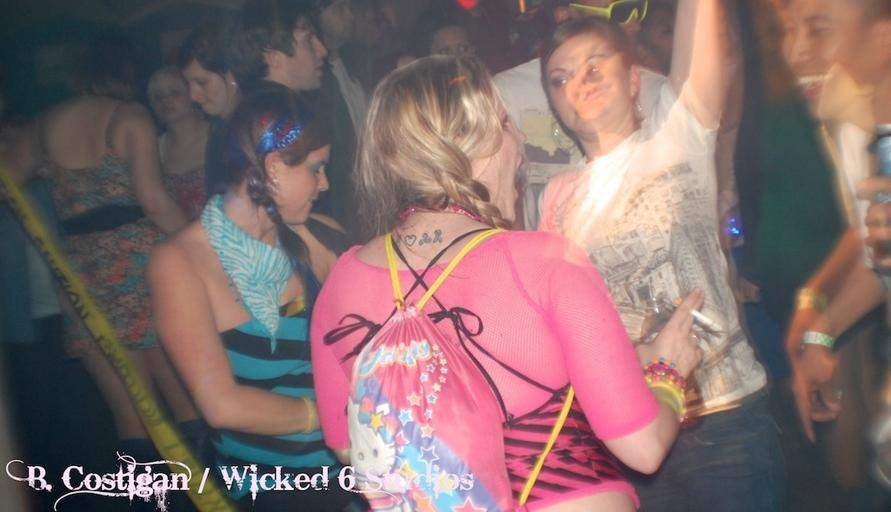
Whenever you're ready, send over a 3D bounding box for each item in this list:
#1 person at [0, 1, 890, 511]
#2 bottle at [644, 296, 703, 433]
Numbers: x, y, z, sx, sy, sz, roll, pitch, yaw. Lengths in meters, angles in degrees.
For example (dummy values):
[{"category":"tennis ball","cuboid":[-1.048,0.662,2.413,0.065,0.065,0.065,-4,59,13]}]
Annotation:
[{"category":"person","cuboid":[0.021,0.025,3.344,2.621,0.853,0.828,-11,51,0]},{"category":"bottle","cuboid":[0.982,0.462,3.408,0.208,0.499,0.378,-4,6,-42]}]
